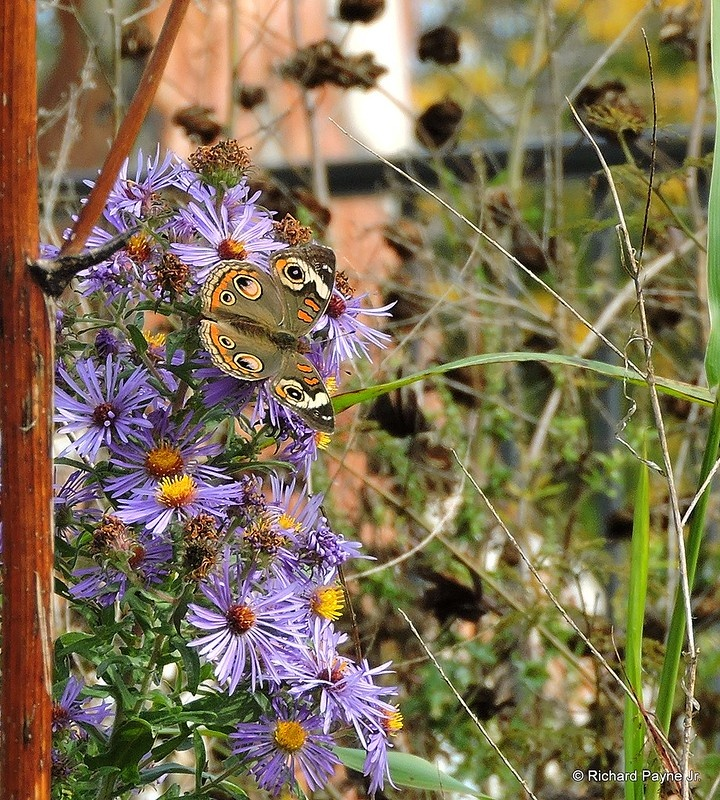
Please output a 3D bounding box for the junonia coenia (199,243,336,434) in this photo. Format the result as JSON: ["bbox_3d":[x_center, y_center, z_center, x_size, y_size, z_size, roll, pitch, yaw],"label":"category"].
[{"bbox_3d":[-0.119,-0.083,2.107,0.171,0.158,0.192,2,35,-3],"label":"junonia coenia"}]
